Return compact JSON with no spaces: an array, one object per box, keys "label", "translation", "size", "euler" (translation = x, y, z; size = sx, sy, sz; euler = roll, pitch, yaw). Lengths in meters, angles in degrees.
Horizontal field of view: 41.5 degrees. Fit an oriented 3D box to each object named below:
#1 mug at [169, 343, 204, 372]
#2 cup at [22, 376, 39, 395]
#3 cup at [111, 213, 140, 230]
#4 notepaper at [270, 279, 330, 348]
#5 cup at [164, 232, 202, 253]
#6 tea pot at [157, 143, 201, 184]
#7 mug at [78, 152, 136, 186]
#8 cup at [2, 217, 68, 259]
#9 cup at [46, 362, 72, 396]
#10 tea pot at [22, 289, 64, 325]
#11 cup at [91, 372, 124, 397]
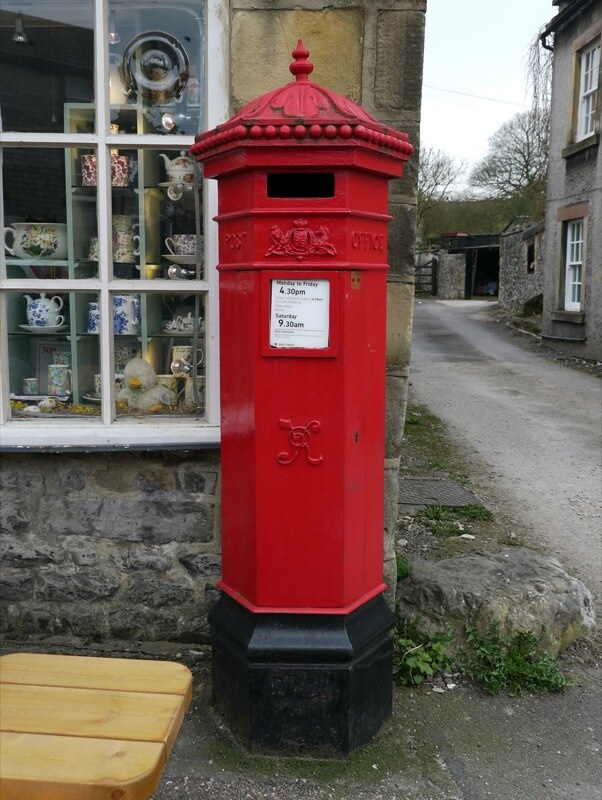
[{"label":"mug","translation":[-0.505,-0.188,3.481],"size":[0.137,0.147,0.094],"euler":[2,2,16]},{"label":"cup","translation":[-1.203,-0.062,3.524],"size":[0.060,0.081,0.067],"euler":[1,-1,15]},{"label":"cup","translation":[-0.753,-0.757,3.395],"size":[0.064,0.060,0.072],"euler":[0,2,-7]},{"label":"notepaper","translation":[-0.006,-0.261,2.462],"size":[0.218,0.316,0.027],"euler":[1,-31,0]},{"label":"cup","translation":[-0.513,-0.663,3.410],"size":[0.084,0.065,0.118],"euler":[-2,-3,-1]},{"label":"tea pot","translation":[-0.513,-0.982,3.305],"size":[0.144,0.124,0.114],"euler":[8,23,1]},{"label":"mug","translation":[-0.801,-0.954,3.377],"size":[0.140,0.111,0.159],"euler":[-1,9,2]},{"label":"cup","translation":[-1.149,-0.688,3.420],"size":[0.187,0.131,0.161],"euler":[2,12,-4]},{"label":"cup","translation":[-1.072,-0.084,3.593],"size":[0.078,0.160,0.149],"euler":[2,1,2]},{"label":"tea pot","translation":[-1.115,-0.398,3.450],"size":[0.157,0.149,0.110],"euler":[8,10,24]},{"label":"cup","translation":[-0.848,-0.059,3.416],"size":[0.084,0.092,0.110],"euler":[1,0,5]}]
